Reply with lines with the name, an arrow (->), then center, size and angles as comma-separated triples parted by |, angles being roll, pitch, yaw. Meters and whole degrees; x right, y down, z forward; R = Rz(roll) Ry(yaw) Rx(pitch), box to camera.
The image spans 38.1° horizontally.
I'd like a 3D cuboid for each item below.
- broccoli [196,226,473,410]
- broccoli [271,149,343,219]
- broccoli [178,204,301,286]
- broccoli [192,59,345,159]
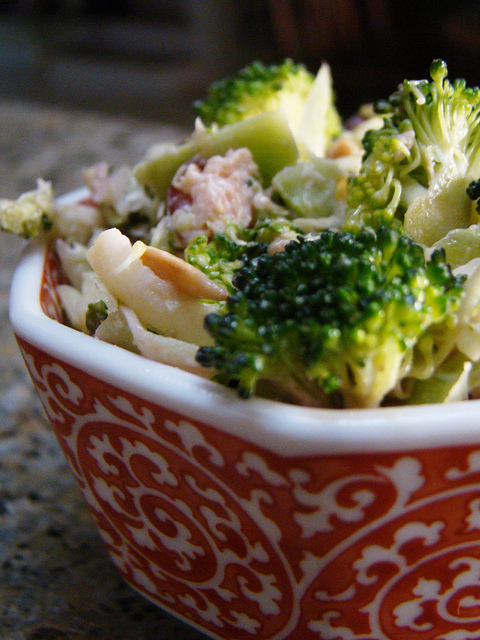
broccoli -> 0.055, -0.005, 0.559 | 0.187, 0.102, 0.168 | -17, -2, -11
broccoli -> 0.074, -0.146, 0.780 | 0.083, 0.069, 0.022 | -22, 1, -25
broccoli -> -0.012, -0.065, 0.677 | 0.041, 0.078, 0.101 | -5, 37, 50
broccoli -> 0.035, -0.304, 0.894 | 0.168, 0.063, 0.179 | -29, 25, 13
